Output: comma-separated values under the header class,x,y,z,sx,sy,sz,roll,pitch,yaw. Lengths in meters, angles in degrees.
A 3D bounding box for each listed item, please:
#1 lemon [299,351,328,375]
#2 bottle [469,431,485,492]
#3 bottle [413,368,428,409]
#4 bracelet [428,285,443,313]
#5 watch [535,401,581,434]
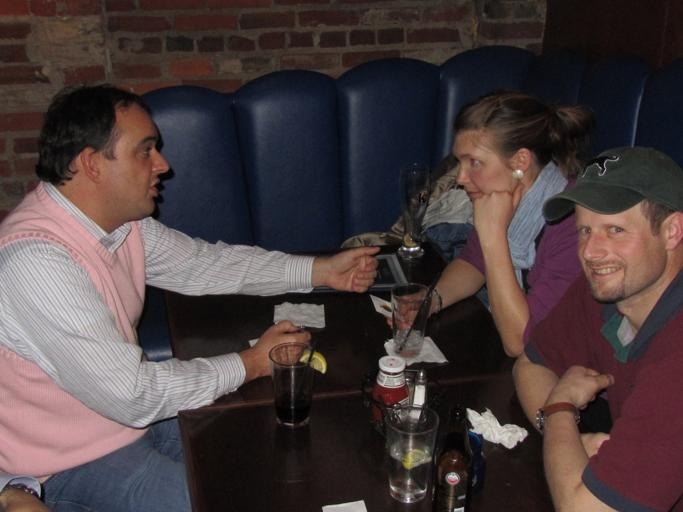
class,x,y,z,sx,sy,sz,roll,pitch,yaw
lemon,-0.083,0.300,1.554,0.032,0.063,0.118,-6,-22,42
bottle,0.288,0.453,1.186,0.038,0.124,0.097,1,11,13
bottle,0.178,0.309,1.276,0.029,0.077,0.044,-2,11,1
bracelet,0.308,0.147,1.834,0.071,0.068,0.068,-8,25,3
watch,0.512,0.378,1.336,0.106,0.066,0.103,-26,-34,17
